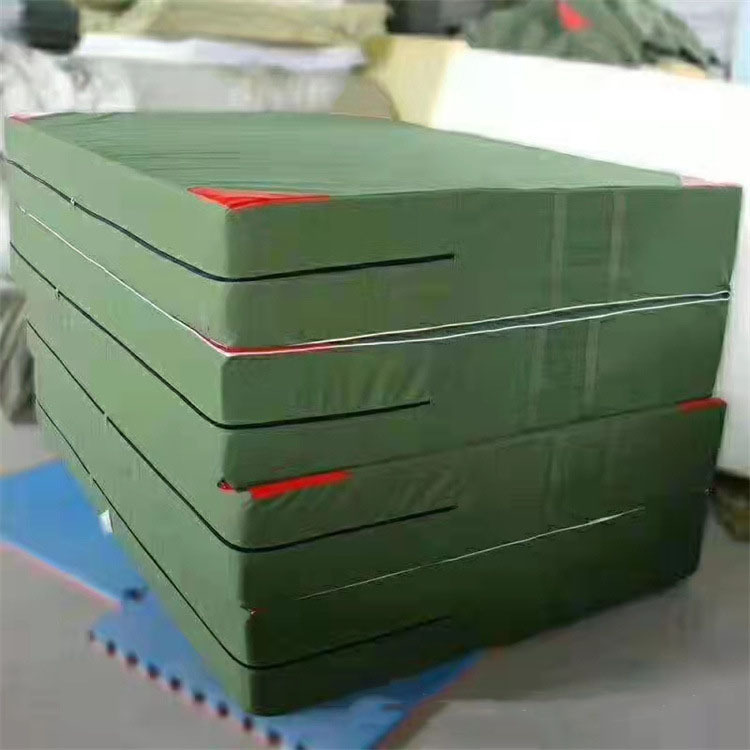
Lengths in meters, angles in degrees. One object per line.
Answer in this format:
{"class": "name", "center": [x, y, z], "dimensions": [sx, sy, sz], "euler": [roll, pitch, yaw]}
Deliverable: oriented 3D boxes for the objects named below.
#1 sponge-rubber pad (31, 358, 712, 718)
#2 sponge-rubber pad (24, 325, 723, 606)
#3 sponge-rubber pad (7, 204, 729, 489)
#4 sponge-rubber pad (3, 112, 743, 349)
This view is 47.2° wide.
{"class": "sponge-rubber pad", "center": [-0.037, 0.043, 1.387], "dimensions": [0.921, 0.188, 0.922], "euler": [-10, 21, -38]}
{"class": "sponge-rubber pad", "center": [0.051, 0.142, 1.031], "dimensions": [0.491, 0.120, 0.470], "euler": [-6, 21, -31]}
{"class": "sponge-rubber pad", "center": [-0.089, -0.127, 1.282], "dimensions": [0.671, 0.128, 0.867], "euler": [-12, 25, -30]}
{"class": "sponge-rubber pad", "center": [-0.036, -0.272, 1.156], "dimensions": [0.687, 0.222, 0.726], "euler": [-19, 37, -25]}
